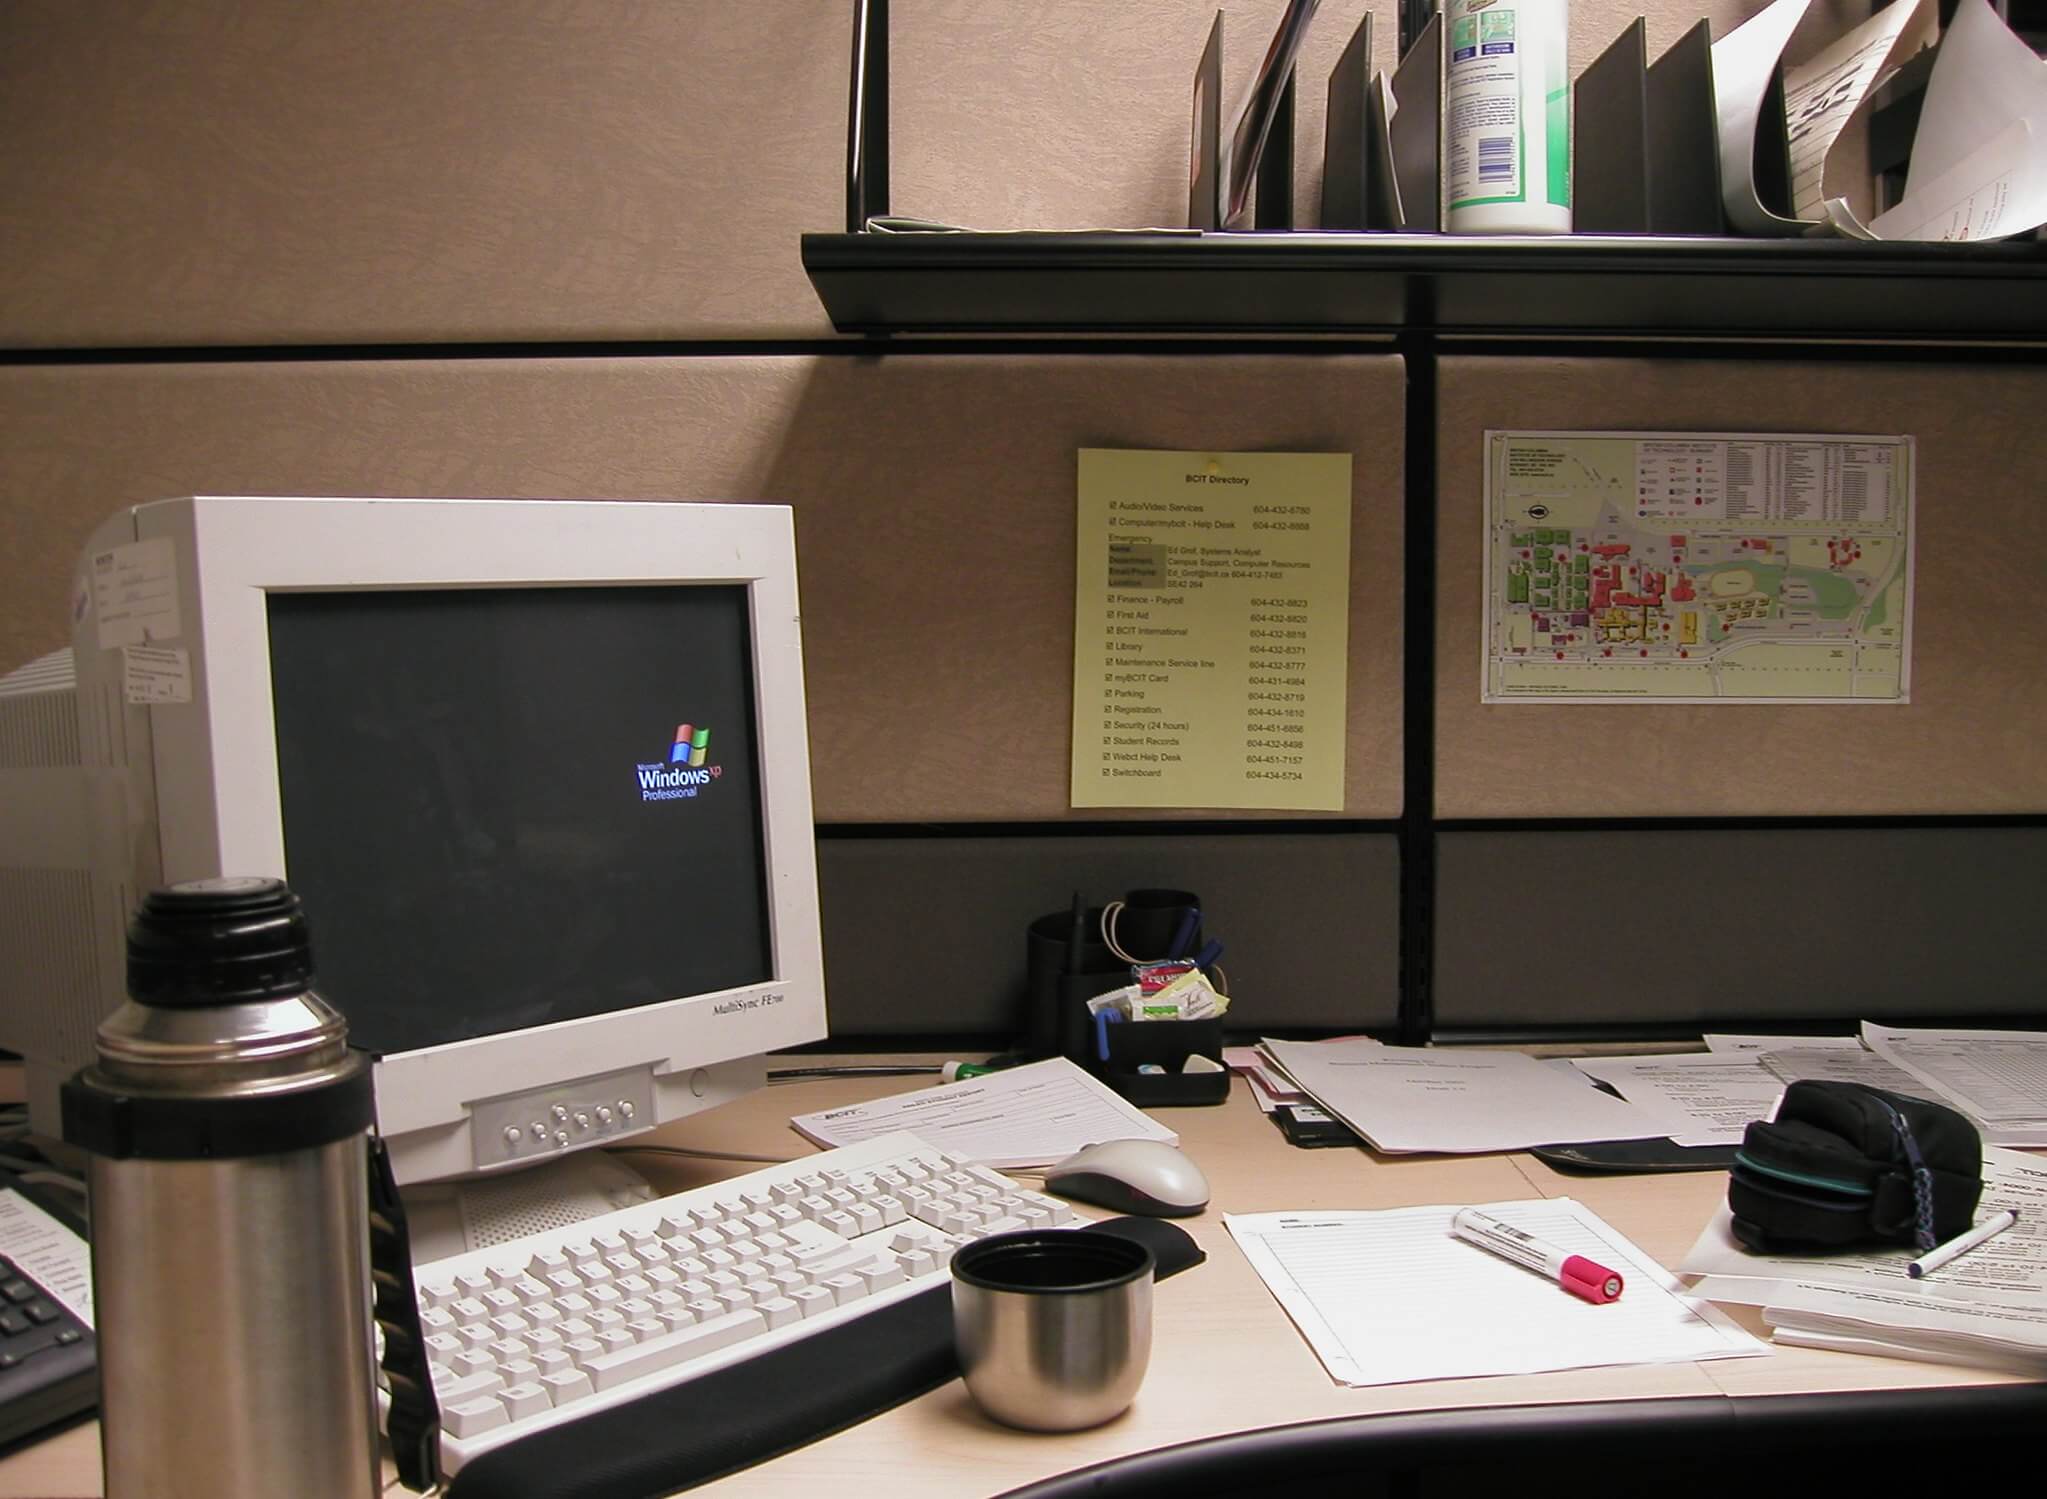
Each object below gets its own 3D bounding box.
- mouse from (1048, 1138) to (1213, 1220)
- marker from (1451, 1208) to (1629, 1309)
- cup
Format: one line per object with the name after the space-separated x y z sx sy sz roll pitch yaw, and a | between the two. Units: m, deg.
0.086 0.302 1.254 0.092 0.033 0.053 4 1 33 | mouse
0.344 0.333 1.192 0.034 0.026 0.179 -25 13 -19 | marker
0.020 0.354 1.053 0.122 0.101 0.076 -4 7 -5 | cup
